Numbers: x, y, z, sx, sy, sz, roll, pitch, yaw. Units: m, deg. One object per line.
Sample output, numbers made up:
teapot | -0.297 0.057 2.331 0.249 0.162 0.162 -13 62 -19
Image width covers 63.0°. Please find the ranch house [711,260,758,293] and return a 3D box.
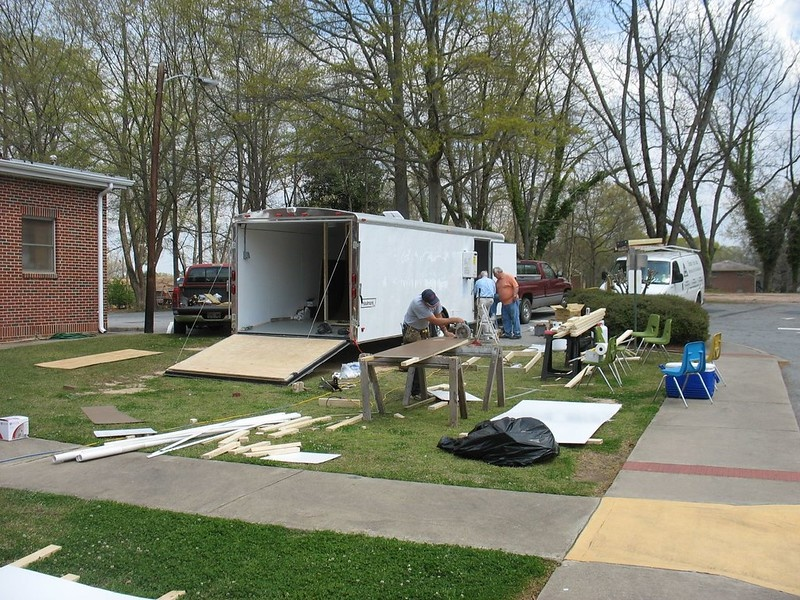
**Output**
ranch house | 36.431 -2.387 71.235 4.705 3.048 4.840 -1 -2 17

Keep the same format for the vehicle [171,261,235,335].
vehicle | -5.681 -0.025 18.897 1.685 1.485 3.188 0 5 -2

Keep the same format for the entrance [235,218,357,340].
entrance | -2.375 -0.584 15.124 1.845 2.281 3.121 1 -1 18

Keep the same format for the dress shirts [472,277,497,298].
dress shirts | 2.133 -0.452 16.438 0.756 0.701 0.432 0 7 5

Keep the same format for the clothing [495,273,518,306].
clothing | 2.854 -0.275 17.669 0.770 0.808 0.444 -11 -6 36

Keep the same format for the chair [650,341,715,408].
chair | 4.490 1.115 10.212 0.755 0.966 1.004 0 2 25

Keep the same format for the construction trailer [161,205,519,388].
construction trailer | -1.372 -0.292 14.581 3.232 3.340 7.255 0 2 35

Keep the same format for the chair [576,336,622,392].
chair | 3.703 1.119 11.862 0.905 1.286 0.877 3 1 22
